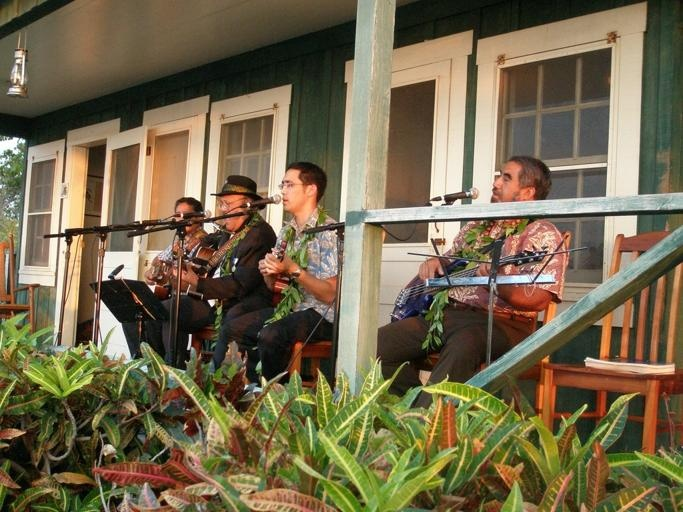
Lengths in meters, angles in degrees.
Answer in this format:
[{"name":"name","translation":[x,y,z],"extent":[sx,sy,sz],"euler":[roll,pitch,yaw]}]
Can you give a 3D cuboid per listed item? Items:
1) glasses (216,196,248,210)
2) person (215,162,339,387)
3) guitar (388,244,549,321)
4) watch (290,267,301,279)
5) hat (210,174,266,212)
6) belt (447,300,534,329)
[{"name":"glasses","translation":[-0.735,-0.369,5.059],"extent":[0.196,0.064,0.209],"euler":[-8,-5,35]},{"name":"person","translation":[-0.332,0.061,4.228],"extent":[0.576,1.240,0.714],"euler":[3,0,-9]},{"name":"guitar","translation":[0.510,0.091,3.395],"extent":[0.689,0.308,0.080],"euler":[-15,-37,43]},{"name":"watch","translation":[-0.237,0.084,3.962],"extent":[0.050,0.038,0.064],"euler":[-16,10,34]},{"name":"hat","translation":[-0.721,-0.476,5.180],"extent":[0.348,0.139,0.291],"euler":[5,-7,-36]},{"name":"belt","translation":[0.731,0.262,3.502],"extent":[0.235,0.061,0.170],"euler":[7,28,-3]}]
